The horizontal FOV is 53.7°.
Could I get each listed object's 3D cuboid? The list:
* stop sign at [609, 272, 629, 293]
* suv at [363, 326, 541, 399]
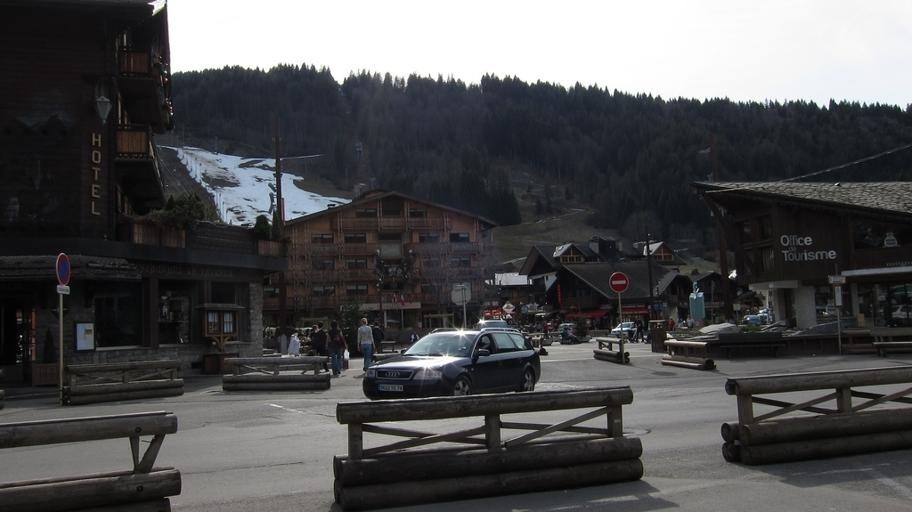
[{"bbox_3d":[7.685,1.221,42.473,0.853,0.896,0.757,-1,-7,-15],"label":"stop sign"},{"bbox_3d":[0.237,4.169,36.251,6.506,2.145,2.908,7,-12,-40],"label":"suv"}]
